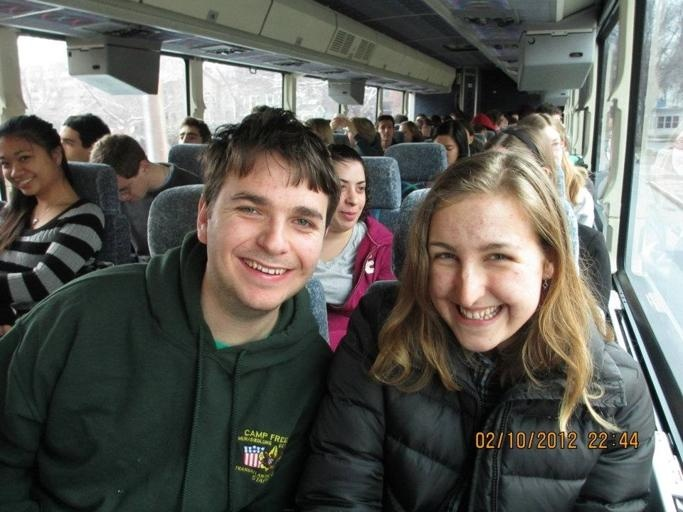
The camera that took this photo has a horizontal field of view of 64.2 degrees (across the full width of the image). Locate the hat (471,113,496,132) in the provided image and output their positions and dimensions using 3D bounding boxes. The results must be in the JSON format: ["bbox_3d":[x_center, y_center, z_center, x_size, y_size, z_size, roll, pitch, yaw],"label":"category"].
[{"bbox_3d":[2.570,-2.444,9.912,0.525,0.239,0.717,5,12,17],"label":"hat"}]
